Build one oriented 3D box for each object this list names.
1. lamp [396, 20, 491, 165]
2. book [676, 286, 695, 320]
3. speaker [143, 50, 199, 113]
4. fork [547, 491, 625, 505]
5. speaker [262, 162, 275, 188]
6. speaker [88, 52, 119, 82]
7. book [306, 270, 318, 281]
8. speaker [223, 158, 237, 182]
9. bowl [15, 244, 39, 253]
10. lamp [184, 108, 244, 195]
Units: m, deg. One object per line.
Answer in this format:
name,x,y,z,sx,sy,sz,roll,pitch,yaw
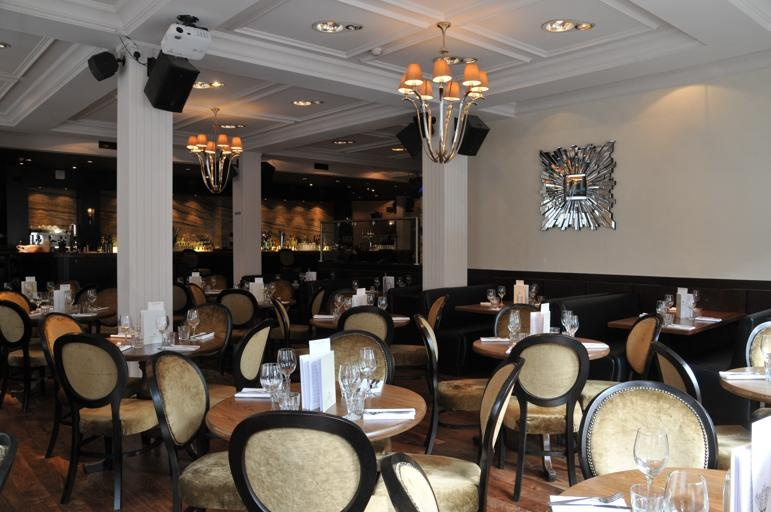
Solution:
lamp,0.678,-1.869,6.404,1.069,1.509,0.999,1,4,-5
book,3.549,0.532,6.653,0.124,0.296,0.159,23,15,37
speaker,-2.330,-1.856,6.082,0.340,0.553,0.317,11,17,-47
fork,1.062,1.247,2.897,0.277,0.037,0.070,-2,3,0
speaker,-2.609,-1.815,12.406,0.256,0.551,0.445,-1,11,-3
speaker,-3.148,-2.124,6.244,0.307,0.306,0.257,-6,12,-26
book,-1.432,0.371,10.578,0.199,0.215,0.194,2,3,14
speaker,-3.238,-1.802,11.609,0.218,0.668,0.277,2,-12,-13
bowl,-7.108,-0.137,11.023,0.333,0.125,0.285,0,1,-16
lamp,-3.097,-1.920,10.194,1.403,1.458,1.362,2,6,6
